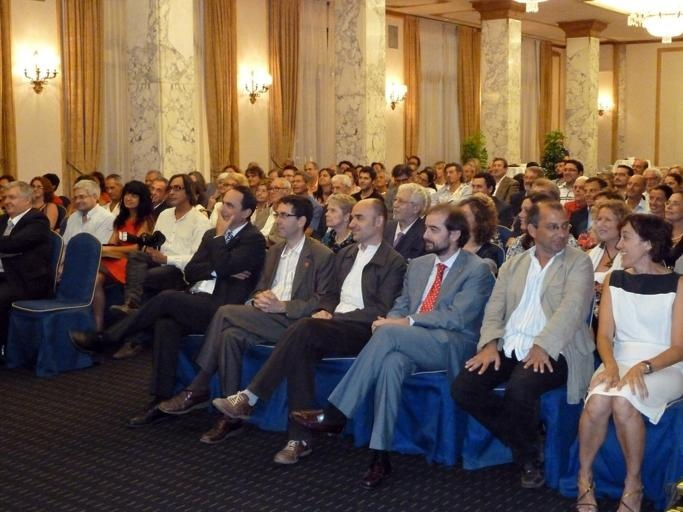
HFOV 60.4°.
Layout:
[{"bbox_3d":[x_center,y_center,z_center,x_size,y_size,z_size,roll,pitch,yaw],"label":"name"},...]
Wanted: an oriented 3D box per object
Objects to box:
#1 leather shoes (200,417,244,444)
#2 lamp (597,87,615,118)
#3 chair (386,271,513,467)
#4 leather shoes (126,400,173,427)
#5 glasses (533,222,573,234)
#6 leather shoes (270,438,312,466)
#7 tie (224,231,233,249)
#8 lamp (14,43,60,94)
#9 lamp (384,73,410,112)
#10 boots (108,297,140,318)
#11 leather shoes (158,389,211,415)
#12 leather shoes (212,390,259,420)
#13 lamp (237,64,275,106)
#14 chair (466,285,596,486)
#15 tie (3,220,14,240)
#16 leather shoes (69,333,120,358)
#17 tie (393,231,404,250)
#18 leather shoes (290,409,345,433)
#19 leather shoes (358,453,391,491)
[{"bbox_3d":[-0.748,1.094,3.819,0.104,0.135,0.305,7,8,42],"label":"leather shoes"},{"bbox_3d":[8.482,-4.918,18.995,0.528,0.862,0.317,-3,9,-17],"label":"lamp"},{"bbox_3d":[0.590,0.718,3.698,0.644,0.892,0.537,-7,-9,42],"label":"chair"},{"bbox_3d":[-1.282,1.064,4.039,0.101,0.219,0.315,-1,-2,42],"label":"leather shoes"},{"bbox_3d":[1.243,-0.166,3.382,0.153,0.053,0.039,-2,9,-11],"label":"glasses"},{"bbox_3d":[-0.288,1.154,3.477,0.093,0.112,0.259,19,10,31],"label":"leather shoes"},{"bbox_3d":[-0.843,-0.133,4.401,0.063,0.101,0.033,0,-4,-6],"label":"tie"},{"bbox_3d":[-4.539,-2.789,8.896,0.553,0.644,0.511,0,0,-20],"label":"lamp"},{"bbox_3d":[1.387,-3.899,14.324,0.227,0.751,0.852,7,11,40],"label":"lamp"},{"bbox_3d":[-1.808,0.434,4.937,0.258,0.106,0.128,20,35,-45],"label":"boots"},{"bbox_3d":[-1.048,0.974,4.026,0.355,0.164,0.143,-7,20,-37],"label":"leather shoes"},{"bbox_3d":[-0.622,0.906,3.557,0.277,0.163,0.140,19,30,-45],"label":"leather shoes"},{"bbox_3d":[-1.618,-3.183,11.163,0.635,0.681,0.206,-8,20,-27],"label":"lamp"},{"bbox_3d":[1.047,0.563,3.396,0.673,1.224,0.748,4,3,25],"label":"chair"},{"bbox_3d":[-2.982,-0.249,5.313,0.039,0.184,0.124,17,-5,-22],"label":"tie"},{"bbox_3d":[-1.897,0.677,4.514,0.402,0.179,0.188,13,-40,-28],"label":"leather shoes"},{"bbox_3d":[0.487,-0.131,4.956,0.033,0.122,0.078,24,-24,-31],"label":"tie"},{"bbox_3d":[-0.133,0.948,3.463,0.300,0.134,0.132,15,18,-22],"label":"leather shoes"},{"bbox_3d":[0.182,1.167,3.221,0.086,0.188,0.244,-2,1,29],"label":"leather shoes"}]
